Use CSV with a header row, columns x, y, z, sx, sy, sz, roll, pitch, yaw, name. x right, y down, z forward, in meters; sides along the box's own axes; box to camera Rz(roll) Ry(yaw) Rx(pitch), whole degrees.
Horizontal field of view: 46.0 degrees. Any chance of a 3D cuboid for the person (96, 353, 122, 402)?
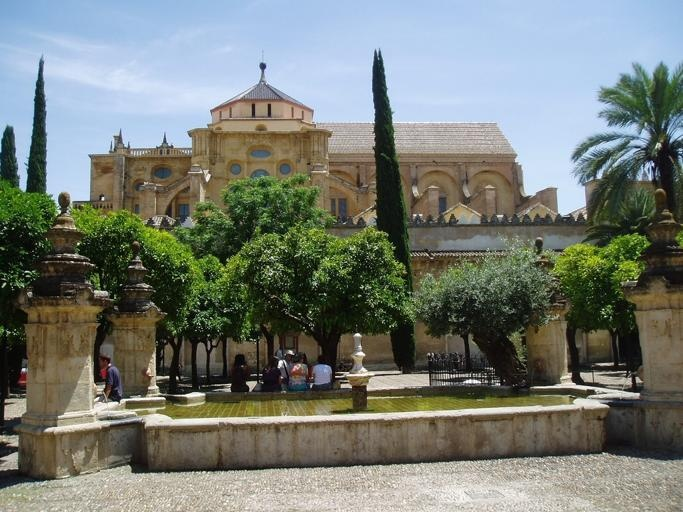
x,y,z,sx,sy,sz,roll,pitch,yaw,name
-4.594,2.422,15.777,0.624,0.965,0.679,-2,-5,-5,person
